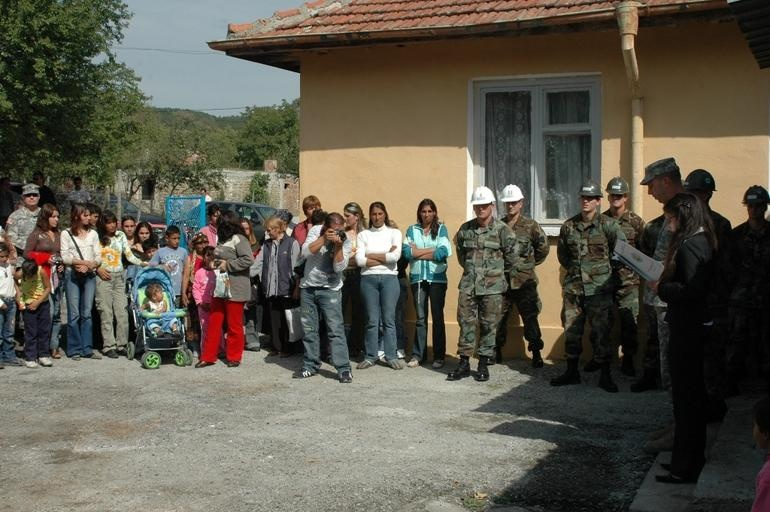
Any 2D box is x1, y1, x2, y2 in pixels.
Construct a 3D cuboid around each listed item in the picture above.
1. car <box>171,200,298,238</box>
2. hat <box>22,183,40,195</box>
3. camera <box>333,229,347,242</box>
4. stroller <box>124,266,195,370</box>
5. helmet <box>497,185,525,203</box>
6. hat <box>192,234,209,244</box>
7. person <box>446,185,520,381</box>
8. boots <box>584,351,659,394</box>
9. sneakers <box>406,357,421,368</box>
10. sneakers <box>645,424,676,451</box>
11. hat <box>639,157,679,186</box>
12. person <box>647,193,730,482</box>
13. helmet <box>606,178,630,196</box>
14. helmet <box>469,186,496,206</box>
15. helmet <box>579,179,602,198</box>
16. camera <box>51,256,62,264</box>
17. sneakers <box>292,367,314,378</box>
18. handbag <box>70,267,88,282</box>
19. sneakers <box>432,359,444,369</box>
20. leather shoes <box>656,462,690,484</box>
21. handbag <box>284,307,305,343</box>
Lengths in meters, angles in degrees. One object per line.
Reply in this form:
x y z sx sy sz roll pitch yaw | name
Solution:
-3.107 -0.732 16.027 2.291 0.854 1.128 -2 -2 22 | car
-5.371 -1.002 12.180 0.213 0.149 0.326 -5 12 -21 | hat
-0.566 -0.274 10.639 0.102 0.147 0.214 6 13 29 | camera
-3.252 0.882 11.684 0.762 1.370 0.756 -4 12 -19 | stroller
1.800 -0.880 11.344 0.261 0.195 0.359 1 2 19 | helmet
-2.847 -0.267 12.452 0.167 0.173 0.052 1 7 -2 | hat
1.321 0.375 10.918 0.888 2.566 0.835 1 11 9 | person
3.292 1.521 10.541 0.513 0.465 0.704 7 -4 -39 | boots
0.411 1.527 11.616 0.171 0.094 0.243 2 12 10 | sneakers
3.004 1.924 8.525 0.489 0.207 0.146 -7 8 -15 | sneakers
3.207 -0.992 9.401 0.426 0.226 0.320 -5 -1 24 | hat
2.856 0.791 7.691 0.531 2.703 0.584 3 12 19 | person
3.088 -0.923 10.745 0.213 0.174 0.288 5 3 32 | helmet
1.308 -0.803 10.854 0.271 0.232 0.305 1 11 5 | helmet
2.696 -0.875 10.603 0.300 0.218 0.213 -10 15 -40 | helmet
-4.720 0.063 11.566 0.142 0.130 0.068 -5 12 -24 | camera
-1.112 1.591 10.976 0.263 0.106 0.125 2 1 -16 | sneakers
-4.450 0.268 11.711 0.207 0.207 0.197 3 4 -13 | handbag
0.754 1.528 11.529 0.157 0.103 0.228 1 11 7 | sneakers
2.752 2.094 7.788 0.382 0.161 0.120 -4 9 27 | leather shoes
-1.334 1.011 11.738 0.196 0.531 0.277 -4 11 -16 | handbag
